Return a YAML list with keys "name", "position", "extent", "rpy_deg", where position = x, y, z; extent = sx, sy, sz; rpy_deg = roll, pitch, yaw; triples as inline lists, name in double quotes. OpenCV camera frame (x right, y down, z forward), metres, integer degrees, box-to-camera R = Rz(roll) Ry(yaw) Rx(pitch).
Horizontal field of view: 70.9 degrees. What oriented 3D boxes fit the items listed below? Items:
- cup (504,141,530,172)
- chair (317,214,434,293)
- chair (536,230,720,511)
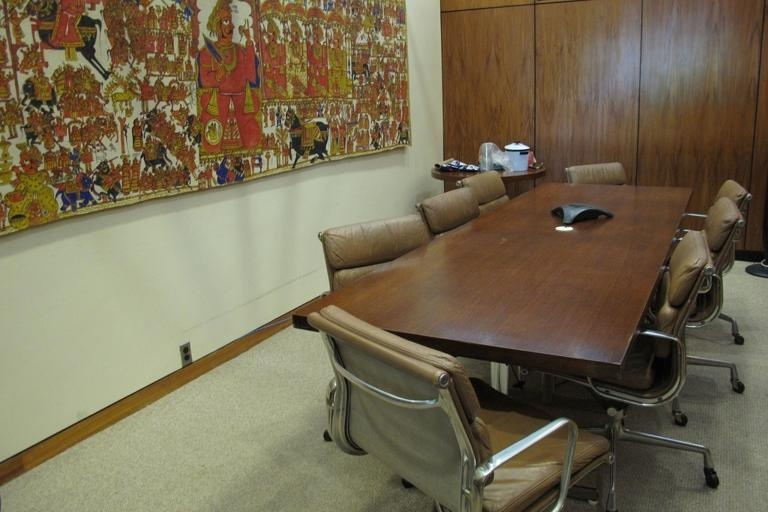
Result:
- name: "cup"
  position: [1.454, -1.091, 5.905]
  extent: [0.279, 0.323, 0.301]
  rpy_deg: [-2, 13, 1]
- name: "chair"
  position: [-0.081, -0.078, 3.394]
  extent: [0.713, 0.506, 0.416]
  rpy_deg: [-17, 7, -29]
- name: "chair"
  position: [1.240, 0.412, 3.387]
  extent: [1.138, 1.562, 1.368]
  rpy_deg: [2, 11, 21]
